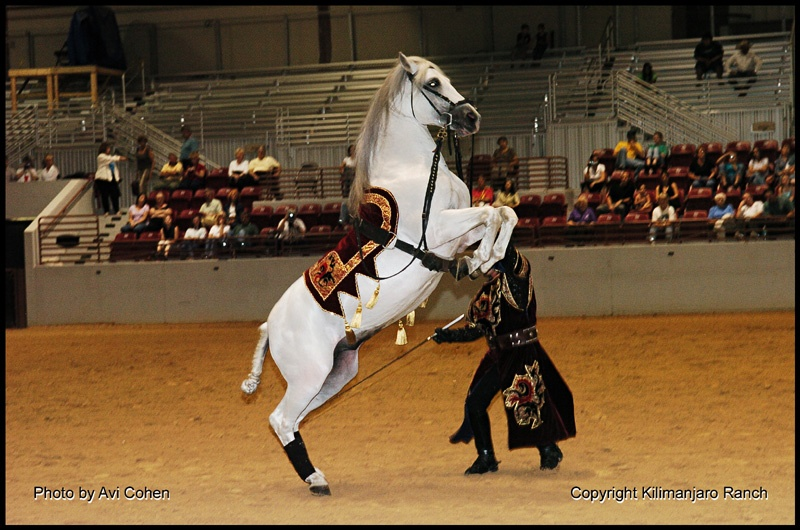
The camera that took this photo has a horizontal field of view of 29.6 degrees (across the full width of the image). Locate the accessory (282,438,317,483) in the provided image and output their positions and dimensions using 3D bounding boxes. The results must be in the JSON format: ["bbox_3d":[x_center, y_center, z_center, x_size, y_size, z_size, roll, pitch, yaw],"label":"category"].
[{"bbox_3d":[-1.997,3.914,30.805,0.520,0.951,0.367,-33,-1,8],"label":"accessory"}]

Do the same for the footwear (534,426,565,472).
[{"bbox_3d":[3.094,3.924,30.999,0.354,0.768,0.768,-20,-1,3],"label":"footwear"}]
